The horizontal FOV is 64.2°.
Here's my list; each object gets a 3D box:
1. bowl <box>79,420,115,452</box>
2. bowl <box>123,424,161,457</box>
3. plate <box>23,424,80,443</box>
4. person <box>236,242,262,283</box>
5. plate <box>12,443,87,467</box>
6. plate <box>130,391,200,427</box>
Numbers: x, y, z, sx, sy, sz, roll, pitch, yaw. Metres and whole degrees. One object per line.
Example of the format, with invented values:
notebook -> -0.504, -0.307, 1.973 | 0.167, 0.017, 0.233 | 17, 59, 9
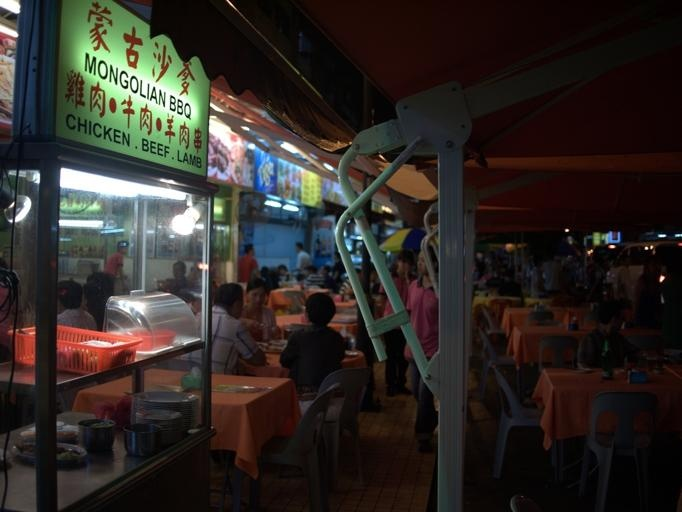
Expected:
bowl -> -1.275, 0.931, 2.870 | 0.154, 0.139, 0.166 | 4, 7, -1
bowl -> -1.061, 0.994, 2.876 | 0.148, 0.122, 0.156 | 0, -17, 0
plate -> -1.435, 0.913, 2.737 | 0.203, 0.056, 0.194 | 1, -6, 8
person -> -1.999, 0.155, 11.703 | 0.449, 0.822, 0.676 | 2, -2, -13
plate -> -1.388, 0.960, 2.623 | 0.185, 0.029, 0.198 | 5, -5, 4
plate -> -1.005, 0.844, 3.112 | 0.237, 0.116, 0.254 | 1, -3, 1
